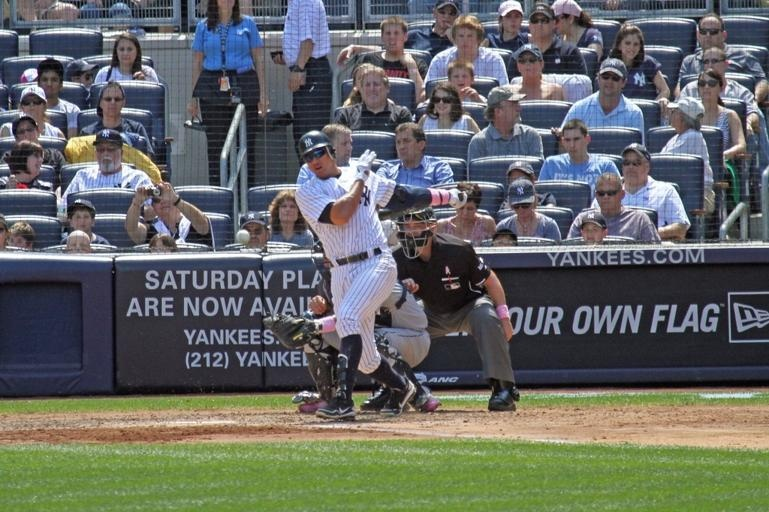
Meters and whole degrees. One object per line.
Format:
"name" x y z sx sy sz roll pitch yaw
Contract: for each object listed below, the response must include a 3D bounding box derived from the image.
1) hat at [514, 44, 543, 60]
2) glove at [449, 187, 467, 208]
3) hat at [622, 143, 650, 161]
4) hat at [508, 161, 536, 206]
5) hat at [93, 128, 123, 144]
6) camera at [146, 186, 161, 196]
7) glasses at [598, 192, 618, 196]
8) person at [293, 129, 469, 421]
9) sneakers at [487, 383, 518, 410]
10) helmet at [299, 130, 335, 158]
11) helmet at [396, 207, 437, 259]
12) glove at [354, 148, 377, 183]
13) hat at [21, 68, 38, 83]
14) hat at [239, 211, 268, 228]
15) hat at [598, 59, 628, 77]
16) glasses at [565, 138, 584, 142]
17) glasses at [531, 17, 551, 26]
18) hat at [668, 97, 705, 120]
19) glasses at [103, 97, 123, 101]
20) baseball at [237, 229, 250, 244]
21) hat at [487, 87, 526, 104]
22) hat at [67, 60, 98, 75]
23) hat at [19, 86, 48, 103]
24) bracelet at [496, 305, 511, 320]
"hat" 1.585 -2.222 22.780 0.276 0.169 0.237 0 5 4
"glove" 0.665 -0.556 19.678 0.138 0.179 0.180 5 -28 32
"hat" 2.639 -1.068 21.628 0.291 0.175 0.370 0 5 7
"hat" 1.413 -0.803 21.552 0.289 0.235 0.469 -3 10 11
"hat" -2.967 -1.247 21.952 0.313 0.160 0.260 -2 5 -15
"camera" -2.421 -0.650 21.392 0.148 0.096 0.089 0 -3 -18
"glasses" 2.289 -0.631 21.288 0.202 0.040 0.039 0 5 6
"person" -0.210 0.163 19.345 1.177 2.618 0.532 -4 6 -32
"sneakers" 1.123 1.332 19.675 0.163 0.171 0.369 2 3 19
"helmet" -0.651 -1.025 19.215 0.309 0.220 0.233 -1 5 -1
"helmet" 0.280 -0.204 19.639 0.380 0.392 0.433 -8 1 23
"glove" -0.191 -0.821 19.220 0.169 0.299 0.093 16 -18 21
"hat" -4.160 -2.055 23.880 0.164 0.078 0.248 -3 20 5
"hat" -1.387 -0.370 21.555 0.303 0.139 0.342 -1 5 -3
"hat" 2.477 -2.029 22.435 0.291 0.201 0.458 6 -6 3
"glasses" 1.999 -1.202 21.693 0.143 0.032 0.017 0 5 10
"glasses" 1.735 -2.612 23.144 0.220 0.076 0.051 0 5 3
"hat" 3.234 -1.551 22.052 0.333 0.167 0.231 16 22 26
"glasses" -2.998 -1.687 22.484 0.205 0.057 0.050 -1 5 -7
"baseball" -1.486 -0.184 21.164 0.143 0.133 0.140 -1 1 5
"hat" 1.272 -1.699 22.068 0.285 0.106 0.195 -4 6 -1
"hat" -3.560 -2.149 23.834 0.269 0.101 0.168 -6 4 18
"hat" -3.953 -1.781 22.969 0.265 0.175 0.327 -1 5 -9
"bracelet" 1.114 0.542 19.707 0.118 0.157 0.125 0 5 6
